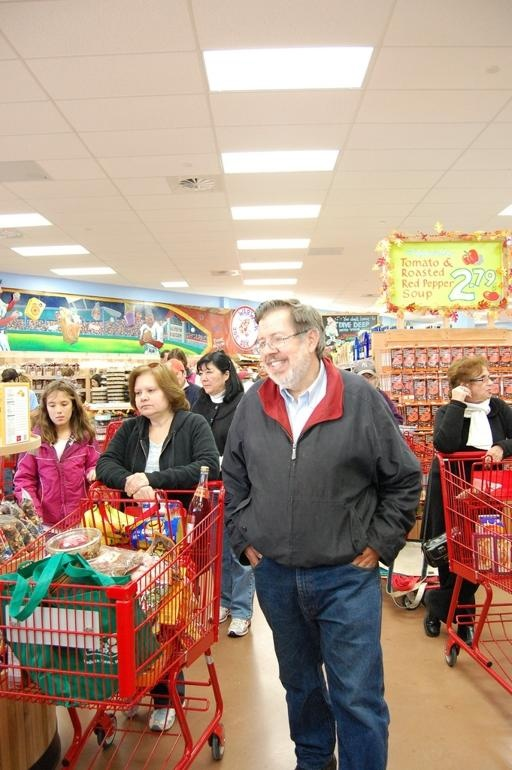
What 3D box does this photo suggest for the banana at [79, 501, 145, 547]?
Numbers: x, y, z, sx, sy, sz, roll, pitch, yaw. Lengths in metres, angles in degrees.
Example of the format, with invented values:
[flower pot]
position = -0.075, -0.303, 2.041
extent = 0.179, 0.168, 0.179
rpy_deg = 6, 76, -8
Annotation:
[banana]
position = -0.471, 0.436, 1.730
extent = 0.164, 0.119, 0.086
rpy_deg = 30, -2, 12

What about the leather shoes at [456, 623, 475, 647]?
[leather shoes]
position = 1.133, 1.325, 2.813
extent = 0.057, 0.125, 0.177
rpy_deg = -8, -21, 9

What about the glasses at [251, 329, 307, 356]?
[glasses]
position = 0.053, -0.125, 1.536
extent = 0.174, 0.064, 0.101
rpy_deg = 2, 4, 33
